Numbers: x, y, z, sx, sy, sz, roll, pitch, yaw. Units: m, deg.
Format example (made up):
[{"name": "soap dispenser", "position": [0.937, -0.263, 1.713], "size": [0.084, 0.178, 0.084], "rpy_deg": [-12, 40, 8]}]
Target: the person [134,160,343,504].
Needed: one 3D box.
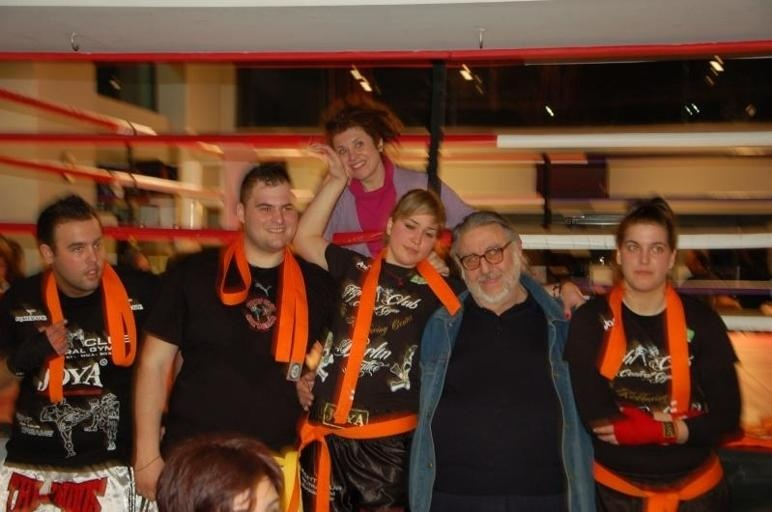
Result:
[{"name": "person", "position": [-0.841, 0.397, 3.941], "size": [1.100, 1.829, 0.386], "rpy_deg": [-1, 1, -2]}]

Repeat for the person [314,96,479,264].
[{"name": "person", "position": [-0.035, -0.485, 4.755], "size": [1.161, 1.034, 0.541], "rpy_deg": [-20, -3, 30]}]
